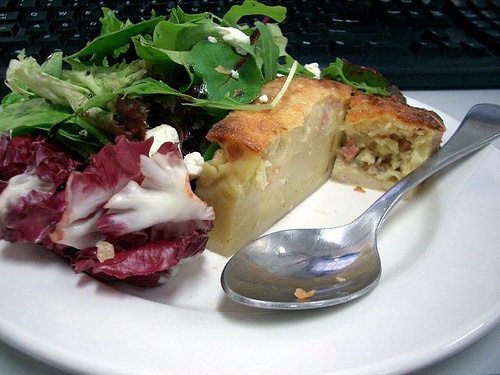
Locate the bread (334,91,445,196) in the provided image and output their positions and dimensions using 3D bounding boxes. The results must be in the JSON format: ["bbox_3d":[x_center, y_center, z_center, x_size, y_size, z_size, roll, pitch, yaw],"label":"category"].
[{"bbox_3d":[0.665,-0.209,2.182,0.591,0.301,0.525,17,48,31],"label":"bread"}]
